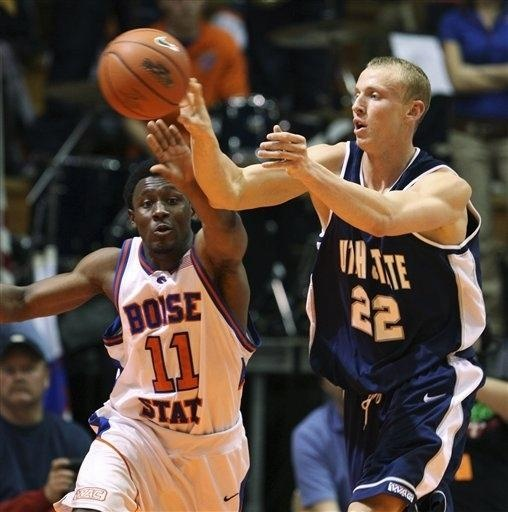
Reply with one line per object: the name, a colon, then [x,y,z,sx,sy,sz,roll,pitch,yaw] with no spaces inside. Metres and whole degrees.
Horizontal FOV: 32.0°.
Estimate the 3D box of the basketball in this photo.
basketball: [-0.456,-0.756,3.675,0.384,0.374,0.279,-11,12,-5]
